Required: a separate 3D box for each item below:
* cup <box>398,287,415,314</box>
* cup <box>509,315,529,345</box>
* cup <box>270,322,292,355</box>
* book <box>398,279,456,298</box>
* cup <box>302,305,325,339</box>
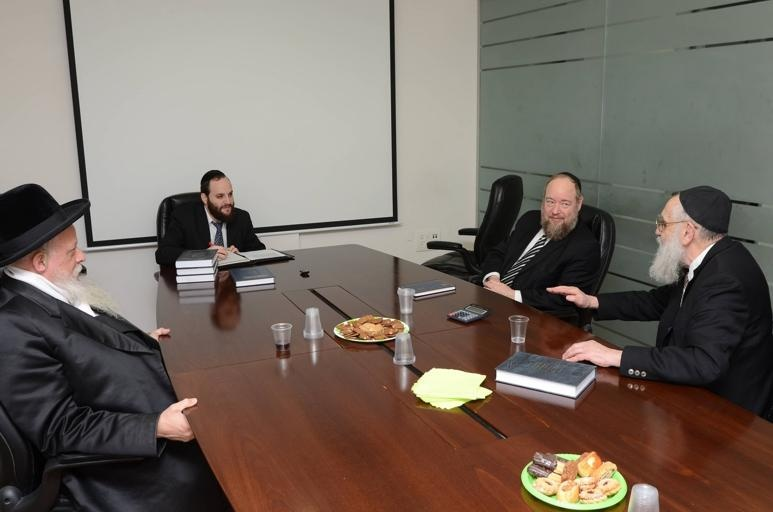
[{"bbox_3d":[0.104,0.248,2.760,0.116,0.138,0.126,3,8,0],"label":"cup"},{"bbox_3d":[0.624,0.363,2.386,0.115,0.126,0.119,0,1,0],"label":"cup"},{"bbox_3d":[-0.485,0.393,2.336,0.121,0.130,0.127,-2,3,0],"label":"cup"},{"bbox_3d":[0.249,0.203,2.998,0.301,0.032,0.225,-8,7,-9],"label":"book"},{"bbox_3d":[-0.367,0.341,2.479,0.133,0.155,0.132,1,1,0],"label":"cup"}]
